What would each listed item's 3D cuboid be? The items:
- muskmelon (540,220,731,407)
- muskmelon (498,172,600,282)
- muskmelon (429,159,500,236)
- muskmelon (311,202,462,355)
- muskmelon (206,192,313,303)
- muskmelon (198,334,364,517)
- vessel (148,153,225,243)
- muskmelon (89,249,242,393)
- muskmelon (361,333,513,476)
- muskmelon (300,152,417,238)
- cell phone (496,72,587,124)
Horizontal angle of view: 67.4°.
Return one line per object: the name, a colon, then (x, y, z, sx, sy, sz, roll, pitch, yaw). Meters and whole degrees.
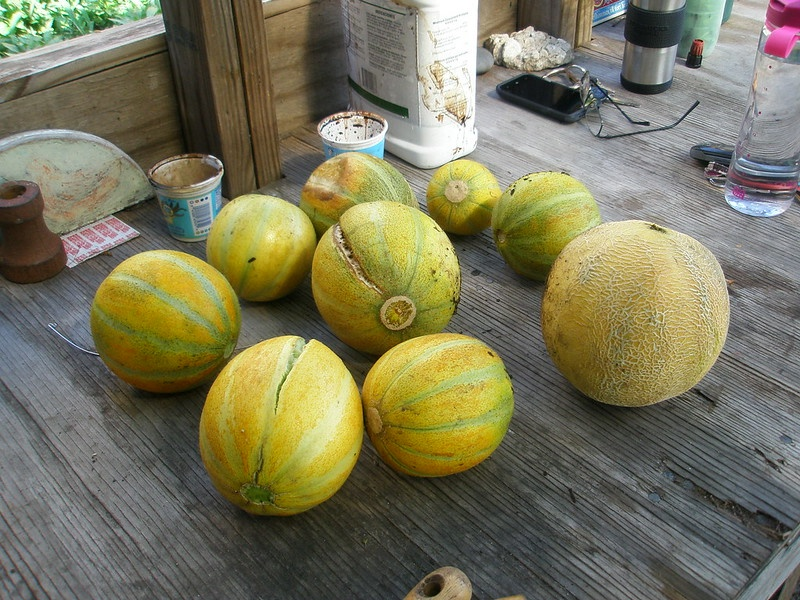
muskmelon: (0.450, 0.040, 1.156, 0.312, 0.367, 0.324, 7, 14, 1)
muskmelon: (0.329, -0.158, 1.421, 0.240, 0.217, 0.242, -12, 67, 4)
muskmelon: (0.163, -0.241, 1.506, 0.158, 0.172, 0.127, 14, 9, 18)
muskmelon: (-0.018, -0.028, 1.269, 0.309, 0.360, 0.370, -4, 74, 16)
muskmelon: (-0.288, -0.111, 1.380, 0.210, 0.219, 0.230, 13, 53, 3)
muskmelon: (-0.200, 0.198, 1.022, 0.234, 0.248, 0.309, 11, 37, -4)
vessel: (-0.525, -0.253, 1.571, 0.190, 0.178, 0.218, 0, 41, -2)
muskmelon: (-0.464, 0.013, 1.182, 0.252, 0.307, 0.250, 4, 35, -18)
muskmelon: (0.065, 0.151, 1.043, 0.230, 0.215, 0.181, -2, 8, -36)
muskmelon: (-0.110, -0.255, 1.404, 0.168, 0.190, 0.225, -11, 33, -45)
cell phone: (0.476, -0.672, 1.989, 0.264, 0.039, 0.160, 27, 55, 25)
